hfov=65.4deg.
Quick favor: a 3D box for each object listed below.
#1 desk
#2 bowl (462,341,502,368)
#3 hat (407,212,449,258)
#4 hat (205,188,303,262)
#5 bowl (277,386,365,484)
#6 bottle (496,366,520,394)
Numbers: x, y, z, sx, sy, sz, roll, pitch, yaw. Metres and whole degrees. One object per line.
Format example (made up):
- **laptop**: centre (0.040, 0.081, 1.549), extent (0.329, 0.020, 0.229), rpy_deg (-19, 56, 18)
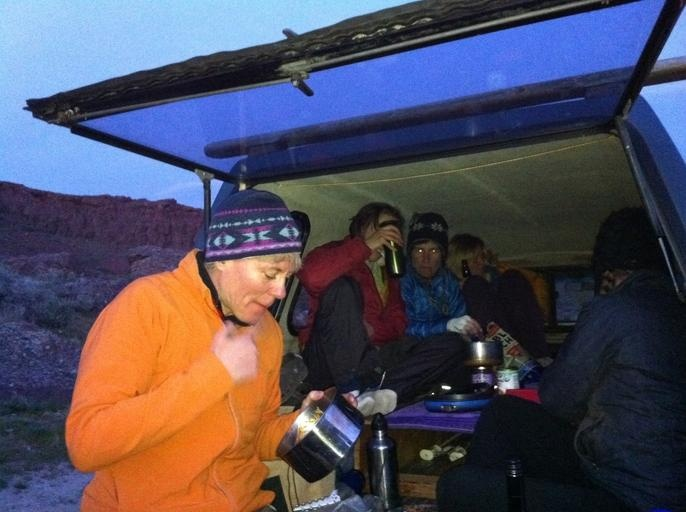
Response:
- **desk**: centre (0.627, 1.242, 3.626), extent (0.320, 0.726, 0.989), rpy_deg (-18, -18, 40)
- **bowl**: centre (0.895, 0.615, 3.358), extent (0.203, 0.112, 0.183), rpy_deg (1, -13, 0)
- **hat**: centre (0.854, -0.207, 5.390), extent (0.408, 0.408, 0.455), rpy_deg (4, -29, 7)
- **hat**: centre (-0.326, -0.127, 1.995), extent (0.383, 0.198, 0.227), rpy_deg (-4, 0, -6)
- **bowl**: centre (-0.079, 0.688, 2.162), extent (0.280, 0.164, 0.284), rpy_deg (-31, 9, 5)
- **bottle**: centre (1.022, 0.776, 3.305), extent (0.159, 0.138, 0.143), rpy_deg (1, -8, -12)
